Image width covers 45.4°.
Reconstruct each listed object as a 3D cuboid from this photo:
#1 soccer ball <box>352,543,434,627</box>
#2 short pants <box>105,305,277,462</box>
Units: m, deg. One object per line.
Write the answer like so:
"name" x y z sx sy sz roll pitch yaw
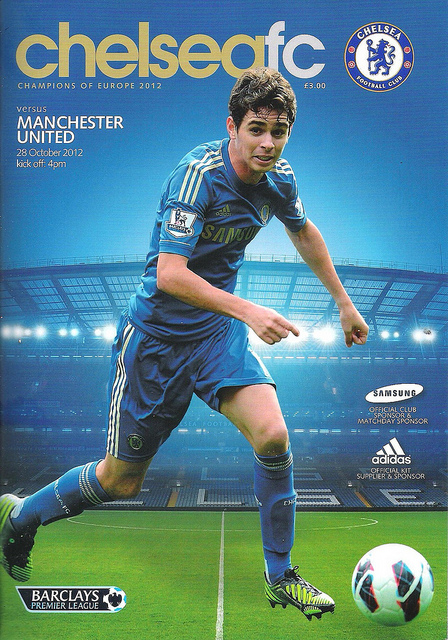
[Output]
"soccer ball" 0.782 1.246 2.498 0.363 0.331 0.250 -1 -5 13
"short pants" -0.177 0.296 2.668 0.887 0.733 0.400 -8 4 -7
